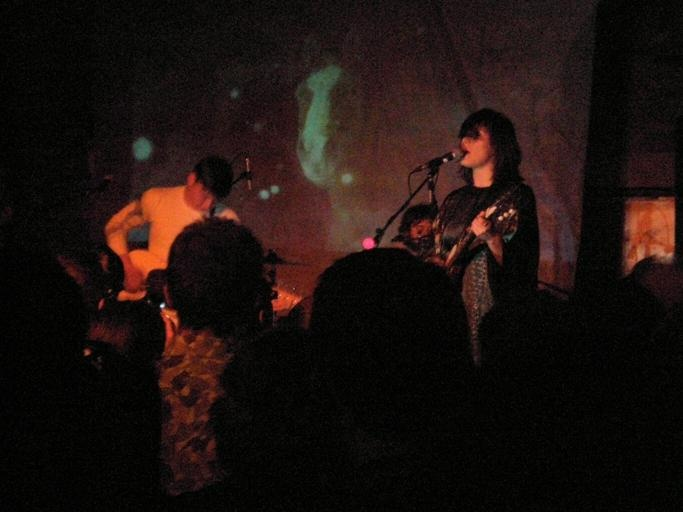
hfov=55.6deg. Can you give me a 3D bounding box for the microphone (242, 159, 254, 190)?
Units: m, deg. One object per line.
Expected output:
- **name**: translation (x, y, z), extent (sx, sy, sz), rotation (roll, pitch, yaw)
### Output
- **microphone**: translation (-0.490, -0.447, 3.339), extent (0.029, 0.173, 0.030), rotation (1, -4, -3)

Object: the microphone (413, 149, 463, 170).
- **microphone**: translation (0.517, -0.521, 3.368), extent (0.292, 0.078, 0.079), rotation (-23, 9, 3)

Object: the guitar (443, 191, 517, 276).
- **guitar**: translation (0.715, -0.189, 3.344), extent (0.112, 0.468, 0.272), rotation (34, 6, 7)
